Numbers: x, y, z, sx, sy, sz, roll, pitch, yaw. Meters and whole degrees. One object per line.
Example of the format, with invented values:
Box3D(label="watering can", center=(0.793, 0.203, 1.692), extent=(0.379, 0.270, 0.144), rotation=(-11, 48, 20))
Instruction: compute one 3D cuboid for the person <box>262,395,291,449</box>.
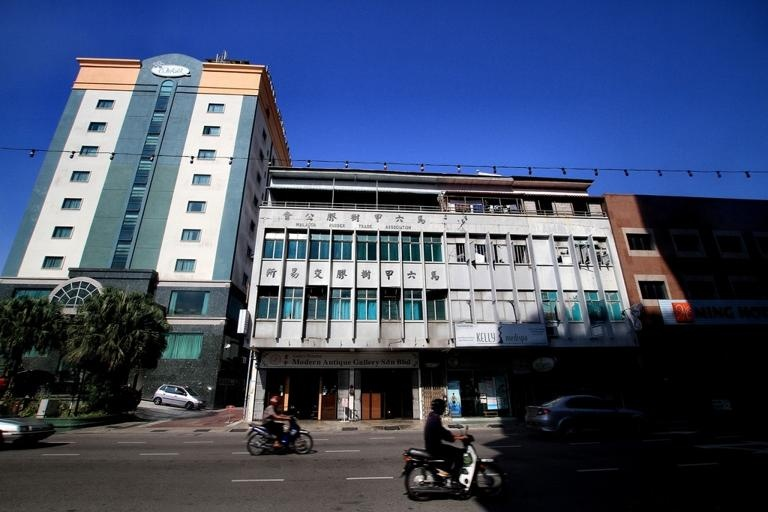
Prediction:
Box3D(label="person", center=(-5.674, 8.725, 24.805), extent=(1.270, 2.577, 0.540), rotation=(0, 0, -12))
